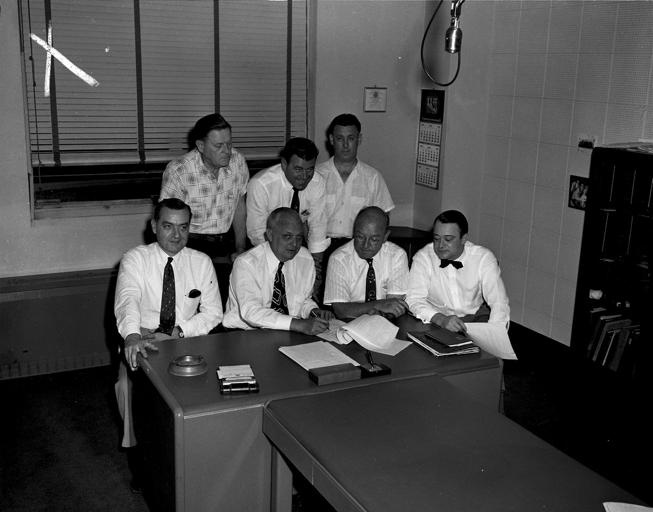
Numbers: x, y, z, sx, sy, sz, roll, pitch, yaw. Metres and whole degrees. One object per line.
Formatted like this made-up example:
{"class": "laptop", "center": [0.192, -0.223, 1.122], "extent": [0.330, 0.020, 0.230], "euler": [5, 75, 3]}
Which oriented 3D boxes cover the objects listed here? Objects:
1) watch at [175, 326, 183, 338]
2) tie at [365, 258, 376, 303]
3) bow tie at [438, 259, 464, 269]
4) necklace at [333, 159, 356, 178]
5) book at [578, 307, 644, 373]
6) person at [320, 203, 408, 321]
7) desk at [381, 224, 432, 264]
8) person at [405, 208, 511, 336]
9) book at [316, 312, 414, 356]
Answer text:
{"class": "watch", "center": [-0.857, 0.450, 3.055], "extent": [0.050, 0.070, 0.041], "euler": [-2, 45, -2]}
{"class": "tie", "center": [0.301, 0.150, 3.429], "extent": [0.078, 0.264, 0.127], "euler": [2, 15, 5]}
{"class": "bow tie", "center": [0.815, 0.053, 3.383], "extent": [0.152, 0.087, 0.127], "euler": [5, 15, 13]}
{"class": "necklace", "center": [0.163, -0.789, 4.617], "extent": [0.141, 0.131, 0.169], "euler": [5, 19, 15]}
{"class": "book", "center": [1.999, 0.565, 3.628], "extent": [0.371, 0.428, 0.304], "euler": [14, 6, -3]}
{"class": "person", "center": [0.227, 0.051, 3.605], "extent": [0.573, 0.953, 0.611], "euler": [0, 45, 1]}
{"class": "desk", "center": [0.854, -0.256, 5.291], "extent": [0.361, 0.514, 0.516], "euler": [6, 18, 8]}
{"class": "person", "center": [0.877, 0.136, 3.355], "extent": [0.543, 0.808, 0.689], "euler": [-26, 30, -38]}
{"class": "book", "center": [0.240, 0.447, 2.733], "extent": [0.185, 0.083, 0.327], "euler": [-6, 18, -45]}
